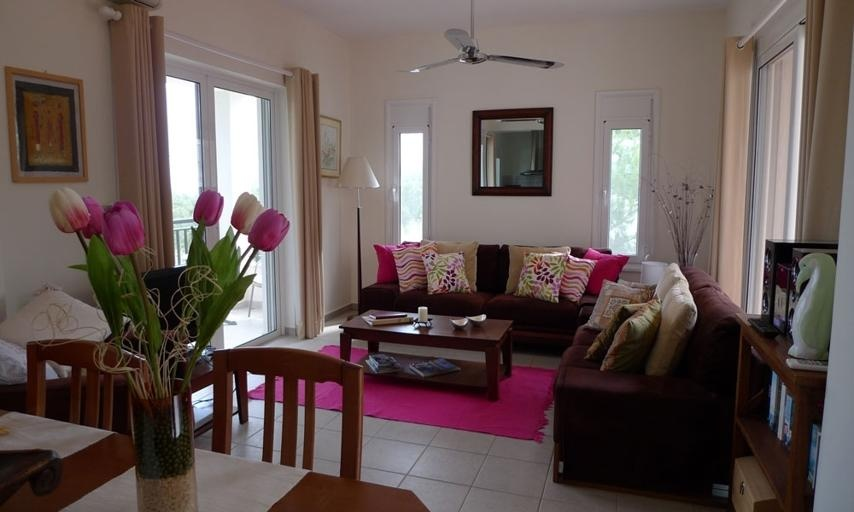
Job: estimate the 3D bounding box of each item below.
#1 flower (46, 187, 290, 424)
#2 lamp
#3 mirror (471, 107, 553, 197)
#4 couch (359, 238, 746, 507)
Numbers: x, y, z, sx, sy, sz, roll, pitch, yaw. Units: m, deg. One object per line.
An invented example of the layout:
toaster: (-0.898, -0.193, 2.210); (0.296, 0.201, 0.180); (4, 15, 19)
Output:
flower: (-0.962, 0.159, 2.397); (0.820, 0.930, 0.891); (1, 1, -3)
lamp: (-0.829, -0.236, 6.747); (0.558, 1.864, 0.537); (-2, 5, -21)
mirror: (1.077, -1.301, 6.723); (1.095, 1.137, 0.085); (2, 7, 20)
couch: (1.111, 0.944, 3.965); (1.791, 0.609, 2.081); (3, 5, 20)
